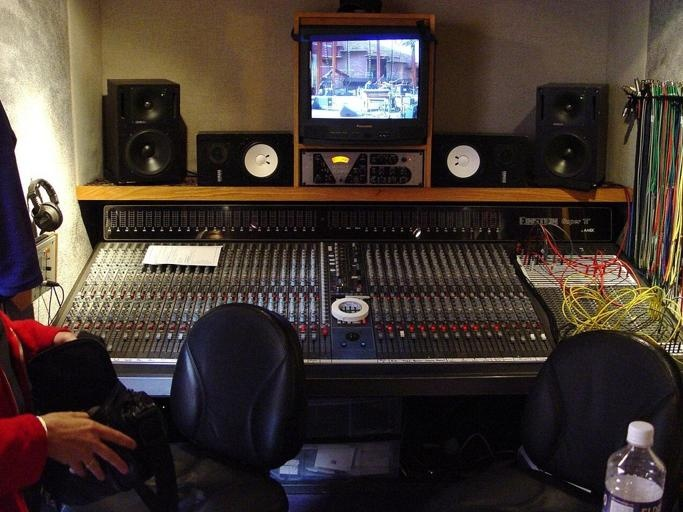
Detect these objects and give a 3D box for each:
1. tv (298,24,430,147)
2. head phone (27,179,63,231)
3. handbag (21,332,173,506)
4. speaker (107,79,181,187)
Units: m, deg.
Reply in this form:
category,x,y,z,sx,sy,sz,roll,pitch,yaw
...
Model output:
category,x,y,z,sx,sy,sz,roll,pitch,yaw
tv,0.080,-0.831,3.133,0.881,0.774,0.501,2,8,1
head phone,-1.342,-0.215,2.544,0.121,0.279,0.293,-9,18,-28
handbag,-0.805,0.543,1.827,0.278,0.469,0.425,-14,29,-32
speaker,-1.086,-0.665,3.021,0.479,0.536,0.319,-2,15,-4
